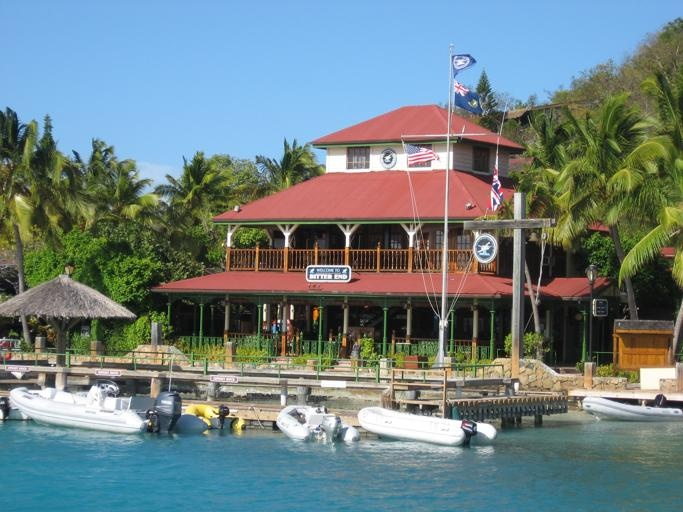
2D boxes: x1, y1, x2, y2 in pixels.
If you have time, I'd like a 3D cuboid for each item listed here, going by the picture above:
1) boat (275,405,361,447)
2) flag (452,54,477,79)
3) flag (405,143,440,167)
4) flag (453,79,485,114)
[{"bbox_3d":[-1.002,6.749,47.165,3.257,1.422,1.119,-1,-10,14],"label":"boat"},{"bbox_3d":[5.769,-9.040,54.747,0.753,0.981,1.469,6,-11,-27],"label":"flag"},{"bbox_3d":[4.137,-5.165,58.816,1.545,1.815,0.196,0,-30,2],"label":"flag"},{"bbox_3d":[6.087,-7.593,54.638,1.585,2.022,0.158,-6,-22,8],"label":"flag"}]
